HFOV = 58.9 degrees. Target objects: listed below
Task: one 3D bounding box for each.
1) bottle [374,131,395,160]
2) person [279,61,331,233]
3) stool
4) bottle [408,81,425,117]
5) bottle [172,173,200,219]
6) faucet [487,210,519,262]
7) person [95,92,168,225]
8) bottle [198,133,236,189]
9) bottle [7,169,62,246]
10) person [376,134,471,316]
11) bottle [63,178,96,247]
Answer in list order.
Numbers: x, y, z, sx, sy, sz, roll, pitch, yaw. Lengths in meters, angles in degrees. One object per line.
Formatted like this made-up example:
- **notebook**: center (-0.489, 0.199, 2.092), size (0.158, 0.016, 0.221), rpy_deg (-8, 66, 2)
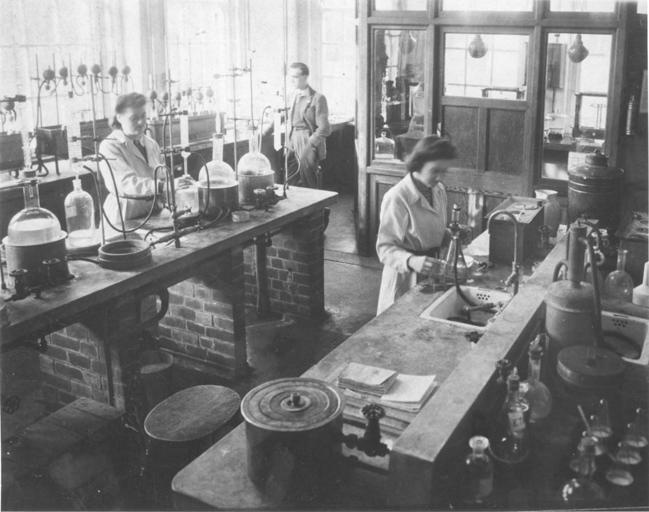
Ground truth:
- **bottle**: center (0.620, -1.216, 6.285), size (0.252, 0.269, 0.262), rpy_deg (-2, 11, -3)
- **person**: center (-0.210, -1.579, 6.982), size (0.503, 1.481, 0.465), rpy_deg (-2, 15, -3)
- **stool**: center (-0.642, 0.964, 2.846), size (0.460, 0.489, 0.377), rpy_deg (-14, 21, -40)
- **bottle**: center (0.952, -1.632, 5.953), size (0.169, 0.339, 0.025), rpy_deg (13, 20, 41)
- **bottle**: center (-0.982, -0.428, 4.081), size (0.263, 0.316, 0.273), rpy_deg (0, 9, -4)
- **faucet**: center (1.153, -0.091, 3.675), size (0.212, 0.412, 0.068), rpy_deg (-1, 3, 32)
- **person**: center (-1.433, -0.739, 4.304), size (0.517, 0.947, 1.521), rpy_deg (-6, 17, -20)
- **bottle**: center (-0.798, -0.692, 4.295), size (0.268, 0.421, 0.280), rpy_deg (-1, 9, 0)
- **bottle**: center (-1.499, -0.237, 2.931), size (0.247, 0.323, 0.193), rpy_deg (-8, 17, -25)
- **person**: center (0.570, -0.151, 3.639), size (0.460, 1.210, 0.623), rpy_deg (1, 15, 8)
- **bottle**: center (-1.494, -0.290, 3.480), size (0.167, 0.431, 0.319), rpy_deg (-7, 17, -23)
